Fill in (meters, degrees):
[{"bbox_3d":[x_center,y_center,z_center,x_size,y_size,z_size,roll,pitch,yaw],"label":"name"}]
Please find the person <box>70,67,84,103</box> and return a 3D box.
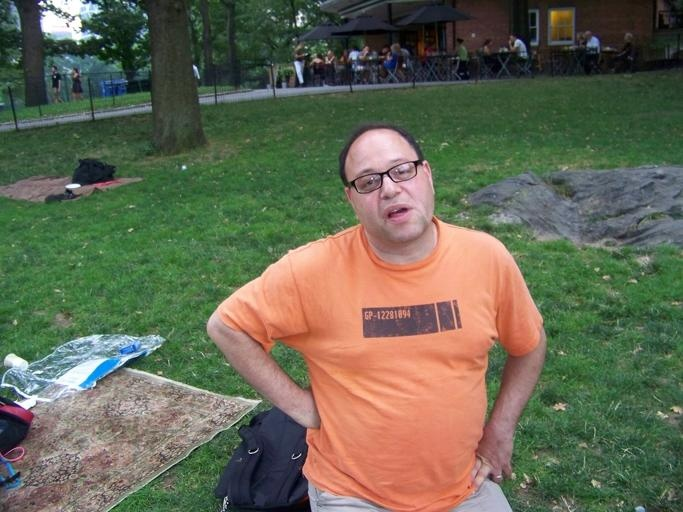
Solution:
[{"bbox_3d":[-15.773,-10.195,34.334,0.663,1.742,1.576,-9,17,-23],"label":"person"}]
